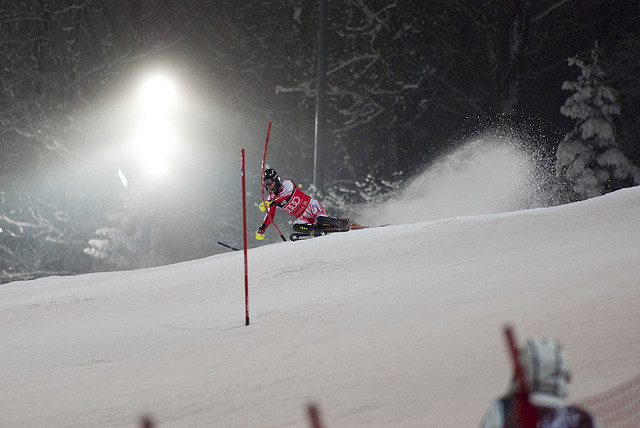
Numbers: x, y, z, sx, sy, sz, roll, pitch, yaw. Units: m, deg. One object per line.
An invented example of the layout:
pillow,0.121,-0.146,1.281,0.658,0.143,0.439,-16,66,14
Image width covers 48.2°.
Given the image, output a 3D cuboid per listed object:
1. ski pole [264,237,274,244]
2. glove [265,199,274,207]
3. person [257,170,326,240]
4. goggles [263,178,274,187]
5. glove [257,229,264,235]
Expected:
ski pole,-0.835,0.434,11.931,0.030,0.046,0.275,-21,-27,11
glove,-0.754,-0.162,10.867,0.078,0.103,0.124,-7,-11,-10
person,-0.484,-0.155,10.877,1.171,1.019,0.422,-3,-12,-31
goggles,-0.787,-0.469,10.703,0.210,0.094,0.084,-21,-16,41
glove,-0.867,0.258,10.494,0.047,0.088,0.078,1,-3,-34
